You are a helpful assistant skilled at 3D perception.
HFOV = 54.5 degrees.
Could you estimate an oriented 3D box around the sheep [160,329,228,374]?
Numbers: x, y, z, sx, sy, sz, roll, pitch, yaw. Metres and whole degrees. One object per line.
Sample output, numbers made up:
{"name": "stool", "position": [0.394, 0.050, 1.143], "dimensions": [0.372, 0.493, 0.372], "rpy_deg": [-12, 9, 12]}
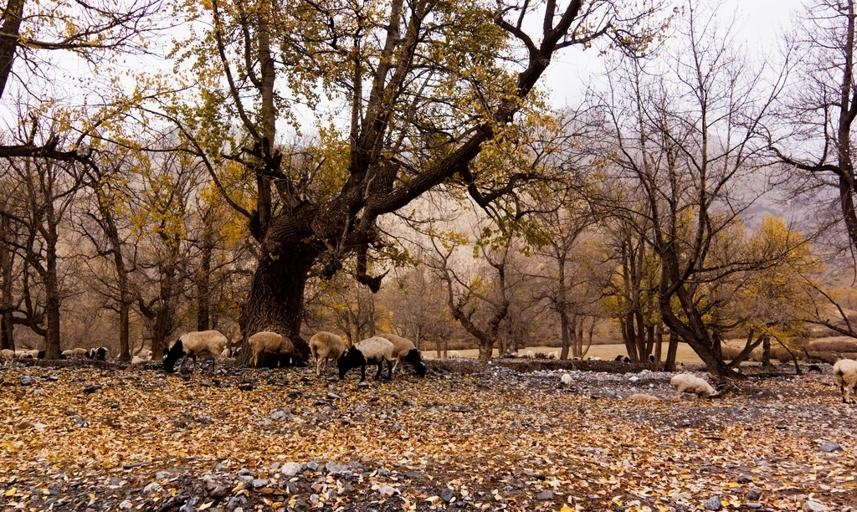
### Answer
{"name": "sheep", "position": [-11.177, 4.534, 39.384], "dimensions": [2.679, 2.004, 2.729], "rpy_deg": [0, -12, -18]}
